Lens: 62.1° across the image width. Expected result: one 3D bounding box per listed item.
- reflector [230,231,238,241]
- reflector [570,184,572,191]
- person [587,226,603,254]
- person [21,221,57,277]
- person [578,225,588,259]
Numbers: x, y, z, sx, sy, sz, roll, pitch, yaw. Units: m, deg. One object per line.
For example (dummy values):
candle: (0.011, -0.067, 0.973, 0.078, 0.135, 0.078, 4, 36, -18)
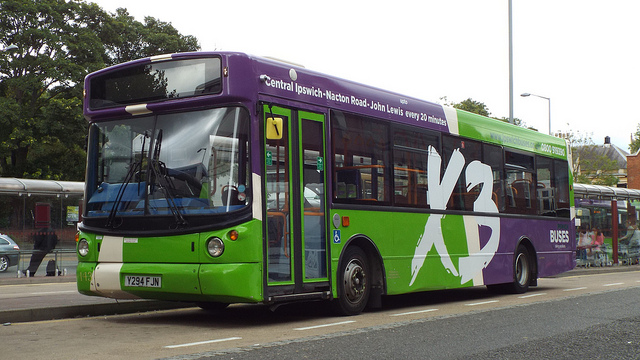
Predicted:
reflector: (-1.812, 1.183, 11.237, 0.191, 0.220, 0.031, 5, -3, 14)
reflector: (9.403, 0.274, 19.968, 0.049, 0.256, 0.245, -5, -12, 31)
person: (17.287, 3.456, 33.313, 0.634, 1.276, 1.913, -5, -12, 28)
person: (-13.472, 3.262, 25.688, 1.373, 2.695, 1.124, 5, -11, -23)
person: (16.141, 3.788, 32.734, 0.514, 2.171, 1.448, -5, -12, 28)
